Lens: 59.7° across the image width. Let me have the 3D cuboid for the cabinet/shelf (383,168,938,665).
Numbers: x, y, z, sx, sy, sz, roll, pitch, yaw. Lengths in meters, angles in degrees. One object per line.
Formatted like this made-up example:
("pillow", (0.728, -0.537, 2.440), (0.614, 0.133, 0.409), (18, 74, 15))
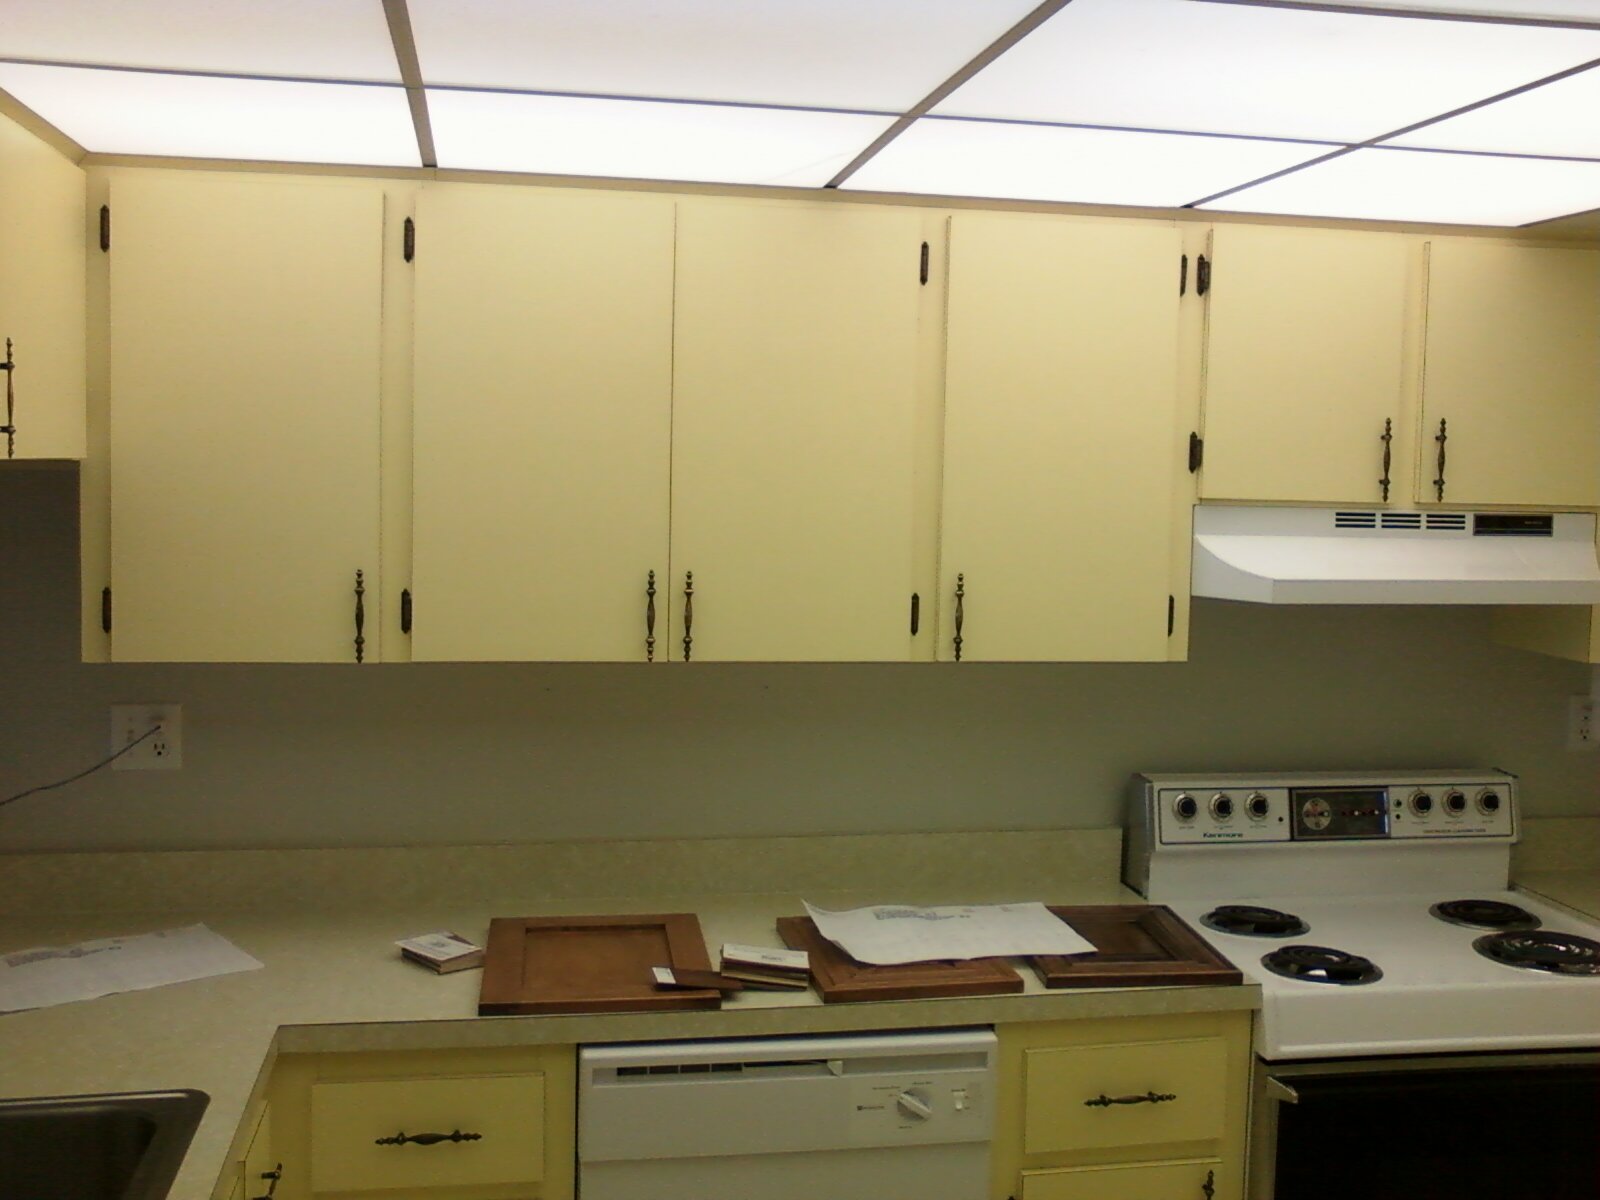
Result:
("cabinet/shelf", (-0.324, -0.392, 2.763), (1.043, 0.830, 0.324), (0, 0, -7))

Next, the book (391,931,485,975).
("book", (-0.717, 0.690, 2.766), (0.151, 0.037, 0.194), (-5, 14, -28))
